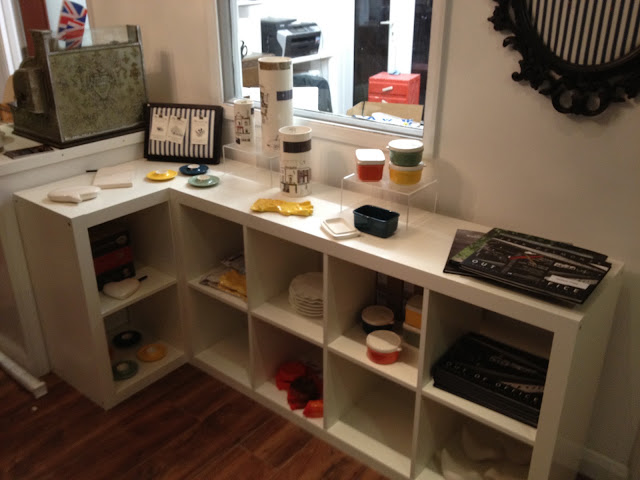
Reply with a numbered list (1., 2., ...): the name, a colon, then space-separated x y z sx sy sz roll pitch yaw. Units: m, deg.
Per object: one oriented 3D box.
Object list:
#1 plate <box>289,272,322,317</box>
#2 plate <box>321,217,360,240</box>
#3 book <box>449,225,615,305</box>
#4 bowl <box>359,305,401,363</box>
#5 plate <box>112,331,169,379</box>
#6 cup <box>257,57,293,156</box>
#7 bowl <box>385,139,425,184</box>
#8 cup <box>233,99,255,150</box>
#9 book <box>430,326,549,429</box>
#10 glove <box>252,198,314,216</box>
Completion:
1. plate: -0.050 0.260 2.336 0.165 0.069 0.174 9 32 11
2. plate: 0.080 -0.049 2.015 0.125 0.037 0.140 -13 29 -21
3. book: 0.734 0.085 1.760 0.508 0.081 0.328 13 31 27
4. bowl: 0.264 0.392 2.123 0.175 0.101 0.314 0 27 4
5. plate: -0.994 0.614 2.649 0.220 0.020 0.210 16 27 34
6. cup: -0.197 -0.633 2.339 0.181 0.428 0.155 -7 26 -10
7. bowl: 0.356 -0.329 2.053 0.139 0.169 0.155 5 27 13
8. cup: -0.377 -0.578 2.473 0.121 0.306 0.126 2 27 -1
9. book: 0.654 0.513 1.871 0.334 0.103 0.255 17 33 30
10. glove: -0.149 -0.148 2.176 0.183 0.042 0.116 5 27 10
